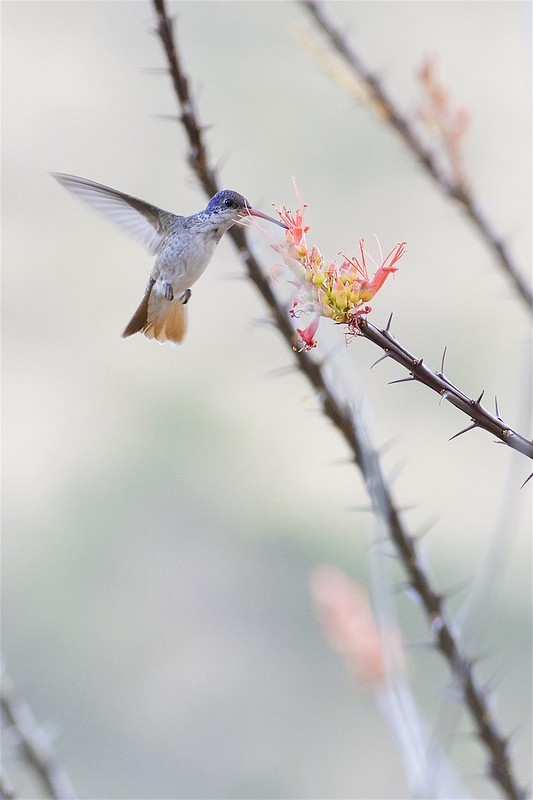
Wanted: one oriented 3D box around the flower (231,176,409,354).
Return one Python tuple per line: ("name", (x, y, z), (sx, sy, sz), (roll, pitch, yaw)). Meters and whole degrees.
("flower", (0.050, -0.138, 1.133), (0.154, 0.207, 0.163), (28, -69, -4))
